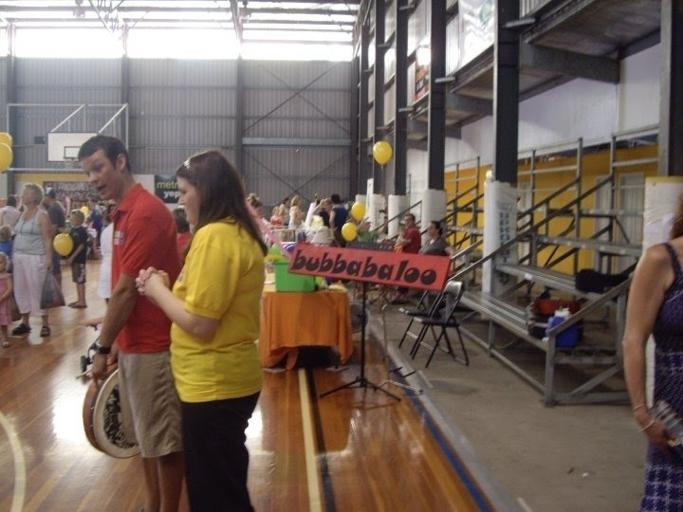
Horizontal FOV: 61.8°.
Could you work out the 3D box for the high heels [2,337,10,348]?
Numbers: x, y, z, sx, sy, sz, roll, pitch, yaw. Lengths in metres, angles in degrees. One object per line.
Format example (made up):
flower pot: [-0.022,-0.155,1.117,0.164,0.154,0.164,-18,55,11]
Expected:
high heels: [-3.972,1.023,6.809,0.064,0.084,0.195,2,-5,-33]

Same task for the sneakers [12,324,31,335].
sneakers: [-4.140,0.943,7.420,0.101,0.118,0.250,-2,-4,26]
